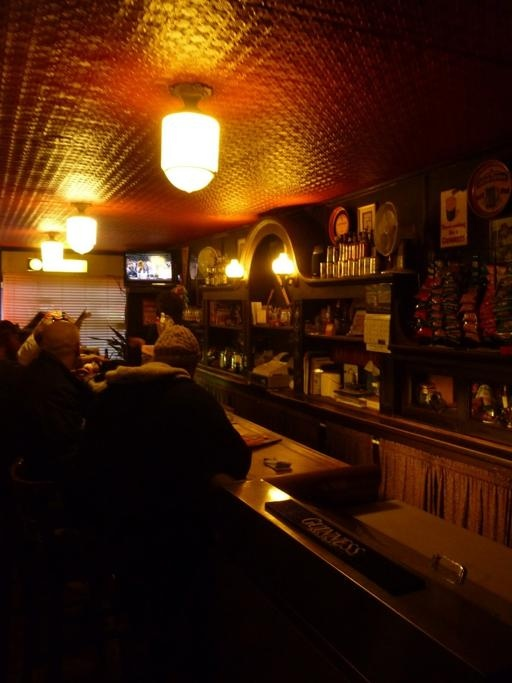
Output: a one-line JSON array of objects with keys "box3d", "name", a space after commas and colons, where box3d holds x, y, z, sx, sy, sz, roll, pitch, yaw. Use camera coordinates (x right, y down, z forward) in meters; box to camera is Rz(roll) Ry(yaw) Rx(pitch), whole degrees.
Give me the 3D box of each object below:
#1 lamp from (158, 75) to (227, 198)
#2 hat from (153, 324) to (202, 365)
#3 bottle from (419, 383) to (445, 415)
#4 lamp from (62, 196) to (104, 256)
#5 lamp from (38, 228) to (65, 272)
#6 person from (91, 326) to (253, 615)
[{"box3d": [-0.288, -0.867, 2.293, 0.254, 0.458, 0.246, 2, -2, -37], "name": "lamp"}, {"box3d": [-0.337, 0.015, 2.258, 0.130, 0.137, 0.194, 1, 3, -16], "name": "hat"}, {"box3d": [1.124, 0.362, 3.387, 0.101, 0.182, 0.166, -3, 1, -32], "name": "bottle"}, {"box3d": [-1.683, -1.072, 5.031, 0.306, 0.436, 1.186, 9, -4, -21], "name": "lamp"}, {"box3d": [-2.694, -1.186, 6.888, 0.276, 0.482, 0.761, 9, -4, -23], "name": "lamp"}, {"box3d": [-0.404, 0.614, 2.063, 0.504, 0.832, 0.775, 9, -4, -31], "name": "person"}]
